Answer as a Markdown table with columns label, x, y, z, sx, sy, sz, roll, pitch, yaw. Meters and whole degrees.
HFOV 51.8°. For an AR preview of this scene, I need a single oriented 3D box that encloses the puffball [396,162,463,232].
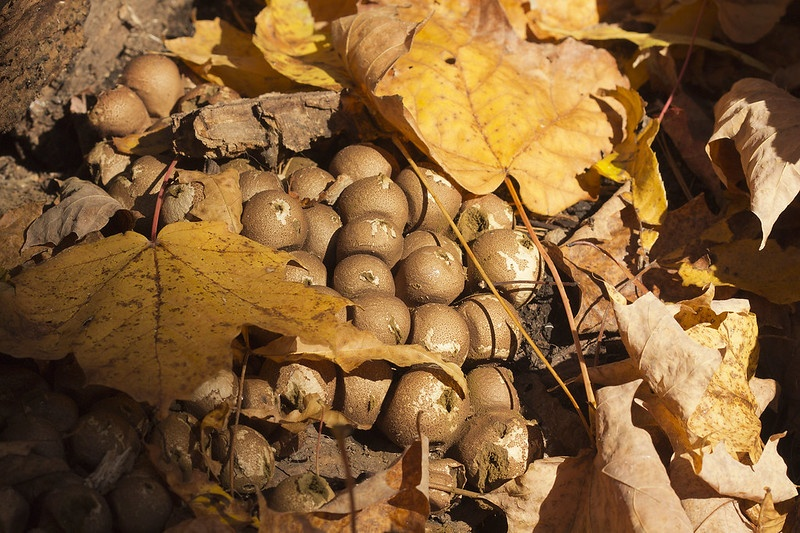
| label | x | y | z | sx | sy | sz | roll | pitch | yaw |
| --- | --- | --- | --- | --- | --- | --- | --- | --- | --- |
| puffball | 0.125 | -0.357 | 4.602 | 0.304 | 0.200 | 0.364 | -41 | 101 | -17 |

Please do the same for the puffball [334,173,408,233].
| label | x | y | z | sx | sy | sz | roll | pitch | yaw |
| --- | --- | --- | --- | --- | --- | --- | --- | --- | --- |
| puffball | -0.142 | -0.350 | 4.527 | 0.374 | 0.338 | 0.309 | -2 | 38 | 27 |

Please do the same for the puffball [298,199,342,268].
| label | x | y | z | sx | sy | sz | roll | pitch | yaw |
| --- | --- | --- | --- | --- | --- | --- | --- | --- | --- |
| puffball | -0.438 | -0.201 | 4.392 | 0.253 | 0.267 | 0.320 | 0 | 94 | -14 |

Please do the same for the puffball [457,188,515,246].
| label | x | y | z | sx | sy | sz | roll | pitch | yaw |
| --- | --- | --- | --- | --- | --- | --- | --- | --- | --- |
| puffball | 0.456 | -0.285 | 4.534 | 0.271 | 0.161 | 0.244 | -17 | 83 | -4 |

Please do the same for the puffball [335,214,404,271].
| label | x | y | z | sx | sy | sz | roll | pitch | yaw |
| --- | --- | --- | --- | --- | --- | --- | --- | --- | --- |
| puffball | -0.143 | -0.141 | 4.395 | 0.317 | 0.352 | 0.255 | -13 | 74 | 2 |

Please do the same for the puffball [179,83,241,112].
| label | x | y | z | sx | sy | sz | roll | pitch | yaw |
| --- | --- | --- | --- | --- | --- | --- | --- | --- | --- |
| puffball | -1.119 | -0.973 | 4.704 | 0.224 | 0.139 | 0.244 | -22 | 23 | -35 |

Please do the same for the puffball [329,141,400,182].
| label | x | y | z | sx | sy | sz | roll | pitch | yaw |
| --- | --- | --- | --- | --- | --- | --- | --- | --- | --- |
| puffball | -0.207 | -0.570 | 4.527 | 0.264 | 0.207 | 0.209 | 7 | 57 | -6 |
